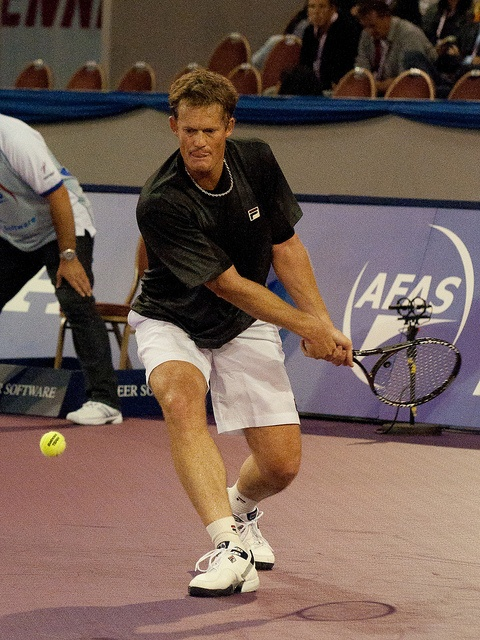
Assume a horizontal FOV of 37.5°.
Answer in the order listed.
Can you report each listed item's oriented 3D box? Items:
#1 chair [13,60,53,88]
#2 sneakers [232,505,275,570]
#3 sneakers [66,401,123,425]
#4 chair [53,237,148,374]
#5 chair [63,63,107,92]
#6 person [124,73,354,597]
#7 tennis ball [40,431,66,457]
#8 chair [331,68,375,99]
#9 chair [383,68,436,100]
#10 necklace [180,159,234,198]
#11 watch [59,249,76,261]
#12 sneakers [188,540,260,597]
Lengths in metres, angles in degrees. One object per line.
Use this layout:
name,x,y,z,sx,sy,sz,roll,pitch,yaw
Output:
chair,-2.051,-2.424,6.986,0.356,0.262,0.789,-4,23,-16
sneakers,0.025,0.684,2.195,0.085,0.148,0.236,6,-7,-26
sneakers,-0.877,0.579,4.261,0.289,0.135,0.137,13,-16,-37
chair,-0.888,-0.089,4.977,0.628,1.056,0.564,1,6,8
chair,-1.500,-2.348,6.807,0.280,0.249,0.518,-7,24,-24
person,0.001,0.133,2.084,0.645,1.605,0.895,-1,22,-9
tennis ball,-0.789,0.531,2.962,0.080,0.136,0.089,3,22,2
chair,0.960,-1.928,5.818,0.303,0.361,0.152,14,24,27
chair,1.340,-1.857,5.557,0.374,0.222,0.240,9,23,13
necklace,-0.082,-0.415,2.086,0.154,0.097,0.079,-14,27,-36
watch,-0.954,-0.356,3.907,0.068,0.039,0.064,-2,-9,-13
sneakers,-0.044,0.646,1.843,0.090,0.140,0.243,-9,-10,44
